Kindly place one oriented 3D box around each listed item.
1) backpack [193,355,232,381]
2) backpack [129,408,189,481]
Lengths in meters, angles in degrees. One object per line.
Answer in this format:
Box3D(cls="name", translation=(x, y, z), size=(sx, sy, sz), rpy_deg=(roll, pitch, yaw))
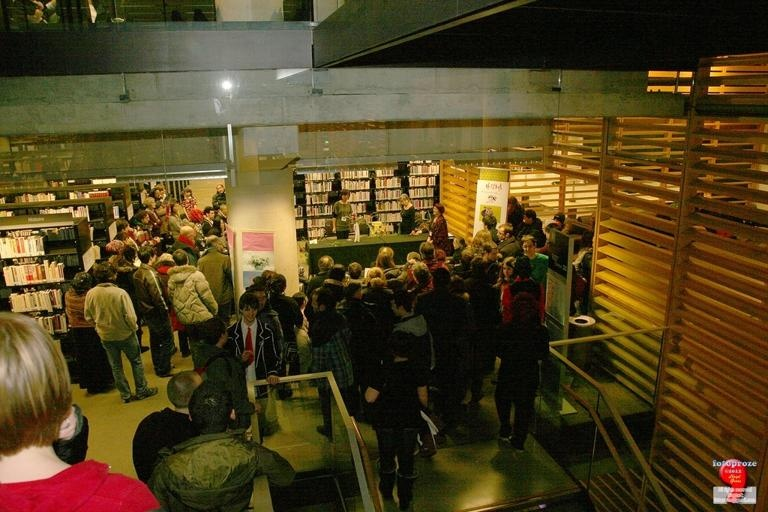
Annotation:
Box3D(cls="backpack", translation=(-1.713, 1.089, 5.547), size=(0.462, 0.287, 0.174), rpy_deg=(7, 16, 42))
Box3D(cls="backpack", translation=(-1.886, 1.632, 4.809), size=(0.501, 0.591, 0.343), rpy_deg=(3, 13, 29))
